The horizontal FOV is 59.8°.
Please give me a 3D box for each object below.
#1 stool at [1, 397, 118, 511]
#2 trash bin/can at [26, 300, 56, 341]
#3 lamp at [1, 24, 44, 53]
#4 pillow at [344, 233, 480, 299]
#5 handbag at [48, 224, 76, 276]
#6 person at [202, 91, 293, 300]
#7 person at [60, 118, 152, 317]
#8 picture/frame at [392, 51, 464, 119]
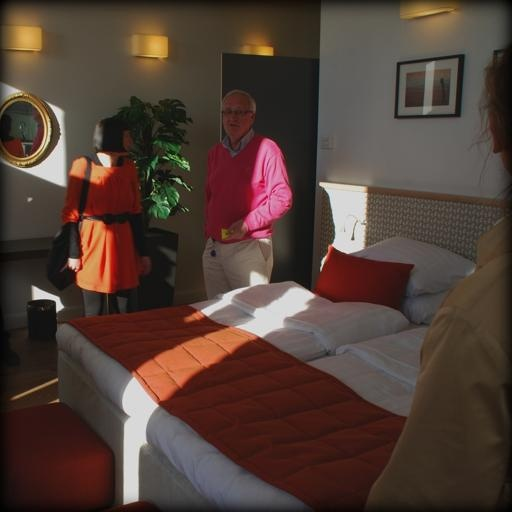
[{"bbox_3d":[-0.815,0.820,1.835,0.321,0.247,0.464,3,-3,-25],"label":"stool"},{"bbox_3d":[-1.797,0.517,3.732,0.168,0.311,0.173,6,19,-9],"label":"trash bin/can"},{"bbox_3d":[-1.869,-1.638,3.516,0.288,0.234,0.187,1,4,-7],"label":"lamp"},{"bbox_3d":[1.024,0.035,2.677,0.456,0.165,0.447,-13,18,-34],"label":"pillow"},{"bbox_3d":[-1.284,-0.061,2.968,0.071,0.330,0.213,9,15,-9],"label":"handbag"},{"bbox_3d":[-0.086,-0.376,2.955,0.637,1.381,0.523,0,12,8],"label":"person"},{"bbox_3d":[-1.048,-0.111,3.107,0.522,1.677,0.405,-8,20,-40],"label":"person"},{"bbox_3d":[1.084,-1.066,2.823,0.367,0.362,0.033,7,45,25],"label":"picture/frame"}]
